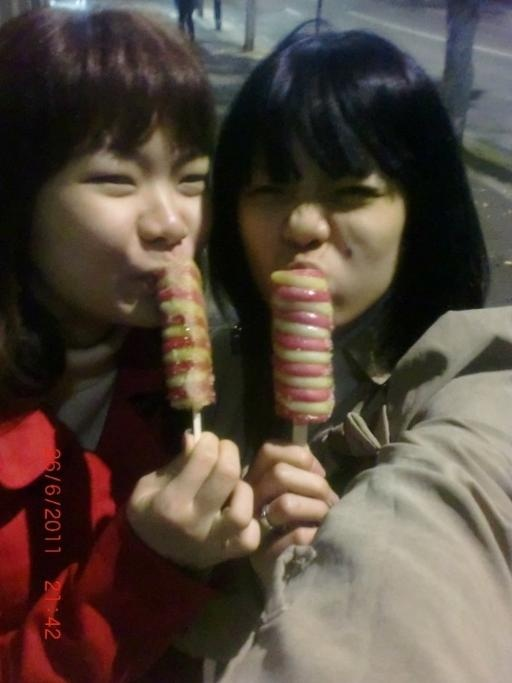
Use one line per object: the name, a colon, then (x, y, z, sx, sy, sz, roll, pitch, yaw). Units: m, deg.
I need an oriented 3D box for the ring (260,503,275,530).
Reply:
ring: (0.034, 0.594, 2.327, 0.037, 0.085, 0.086, -6, 27, 3)
